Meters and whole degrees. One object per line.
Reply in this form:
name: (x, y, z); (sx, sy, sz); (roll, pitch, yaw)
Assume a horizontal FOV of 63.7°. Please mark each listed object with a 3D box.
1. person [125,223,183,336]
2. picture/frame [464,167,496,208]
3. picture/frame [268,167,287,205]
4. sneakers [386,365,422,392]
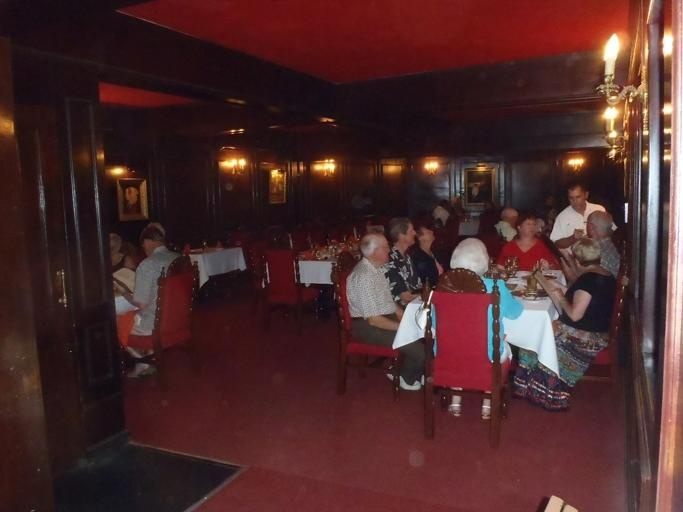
person: (-1.765, 0.123, 4.946); (0.433, 0.843, 0.453); (21, 21, 16)
picture/frame: (3.351, -1.673, 13.165); (1.003, 1.339, 0.140); (-1, 3, 7)
picture/frame: (-1.358, -1.466, 11.391); (0.077, 0.833, 0.691); (0, 8, 23)
sneakers: (0.485, 1.047, 4.659); (0.399, 0.183, 0.158); (6, 21, 24)
